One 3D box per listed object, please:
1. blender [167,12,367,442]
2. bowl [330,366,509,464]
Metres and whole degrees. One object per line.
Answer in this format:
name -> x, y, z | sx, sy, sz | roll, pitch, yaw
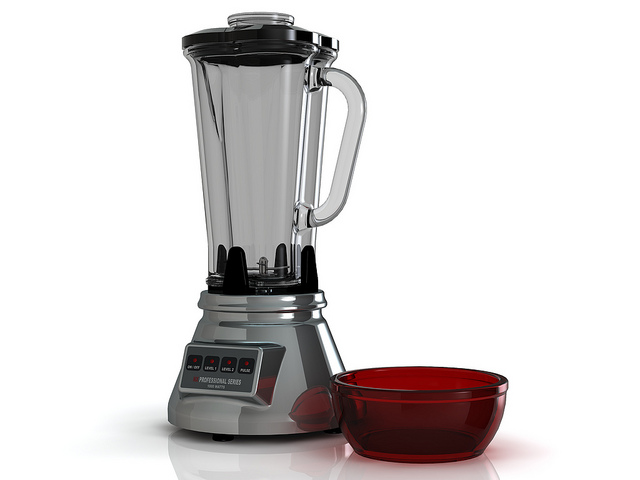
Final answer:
blender -> -0.115, -0.046, 1.209 | 0.386, 0.884, 0.180 | 0, -4, -11
bowl -> 0.194, 0.315, 1.088 | 0.330, 0.097, 0.301 | -1, -3, 0
